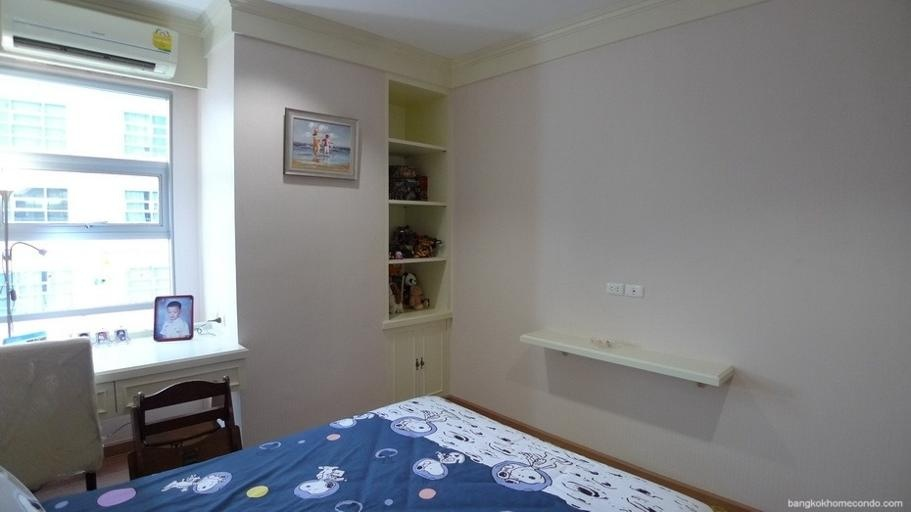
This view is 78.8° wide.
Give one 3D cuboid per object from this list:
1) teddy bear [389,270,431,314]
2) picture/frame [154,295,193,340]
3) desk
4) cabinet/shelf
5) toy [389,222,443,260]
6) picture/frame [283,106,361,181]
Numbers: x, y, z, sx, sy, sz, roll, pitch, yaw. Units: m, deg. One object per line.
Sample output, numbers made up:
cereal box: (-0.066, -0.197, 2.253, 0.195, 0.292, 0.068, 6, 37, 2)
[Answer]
teddy bear: (-0.503, 0.361, 5.534, 0.388, 0.423, 0.183, 10, -9, -22)
picture/frame: (-2.336, 0.519, 4.578, 0.411, 0.466, 0.055, 0, -5, -25)
desk: (-2.290, 0.656, 4.283, 1.023, 0.575, 0.563, -5, 7, -43)
cabinet/shelf: (-0.497, -0.139, 5.574, 0.851, 3.039, 0.728, -6, 6, -29)
toy: (-0.478, -0.141, 5.533, 0.558, 0.310, 0.371, -5, 6, -38)
picture/frame: (-1.184, -0.974, 4.761, 0.792, 0.588, 0.079, 1, 3, -29)
